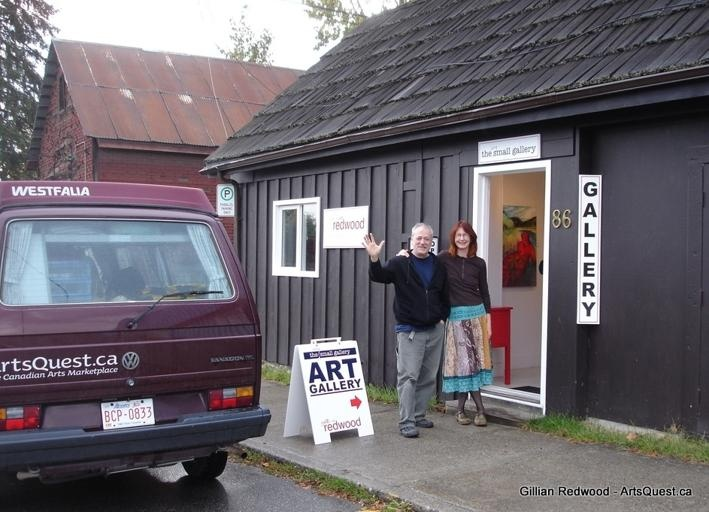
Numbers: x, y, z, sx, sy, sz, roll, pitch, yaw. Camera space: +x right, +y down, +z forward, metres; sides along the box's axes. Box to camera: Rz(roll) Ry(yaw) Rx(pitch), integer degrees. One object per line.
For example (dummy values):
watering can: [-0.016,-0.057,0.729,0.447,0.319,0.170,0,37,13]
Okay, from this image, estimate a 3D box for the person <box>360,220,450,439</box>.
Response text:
person: [0.661,0.833,7.311,0.854,2.380,0.425,-2,1,-39]

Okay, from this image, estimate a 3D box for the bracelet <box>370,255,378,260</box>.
bracelet: [0.205,0.018,6.970,0.049,0.059,0.058,-1,-8,32]

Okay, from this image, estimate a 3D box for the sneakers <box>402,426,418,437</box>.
sneakers: [0.628,1.962,7.212,0.075,0.081,0.192,2,-7,-25]

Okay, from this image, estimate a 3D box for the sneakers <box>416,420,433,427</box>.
sneakers: [0.835,1.955,7.592,0.205,0.097,0.079,-3,-3,26]
